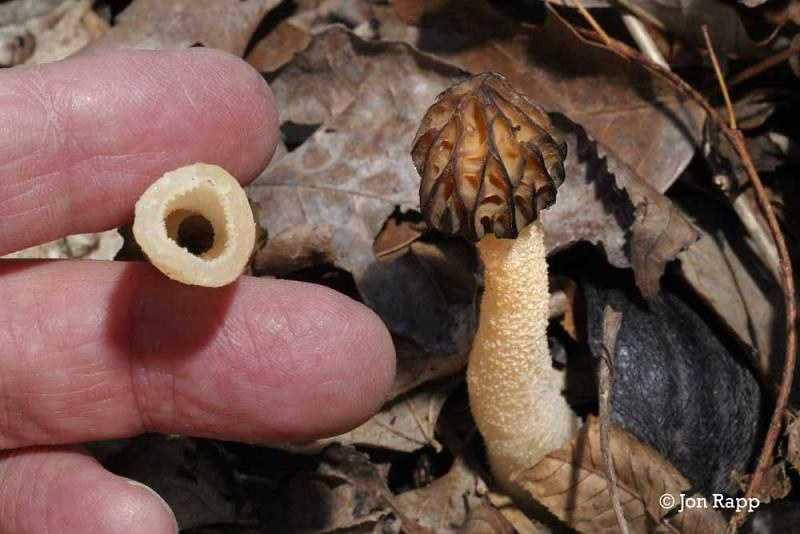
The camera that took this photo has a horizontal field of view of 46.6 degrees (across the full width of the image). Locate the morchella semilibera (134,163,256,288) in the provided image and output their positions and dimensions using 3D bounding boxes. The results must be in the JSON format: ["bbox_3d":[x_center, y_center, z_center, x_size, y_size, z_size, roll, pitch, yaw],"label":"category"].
[{"bbox_3d":[-0.477,-0.097,2.166,0.270,0.159,0.238,1,48,-14],"label":"morchella semilibera"}]
